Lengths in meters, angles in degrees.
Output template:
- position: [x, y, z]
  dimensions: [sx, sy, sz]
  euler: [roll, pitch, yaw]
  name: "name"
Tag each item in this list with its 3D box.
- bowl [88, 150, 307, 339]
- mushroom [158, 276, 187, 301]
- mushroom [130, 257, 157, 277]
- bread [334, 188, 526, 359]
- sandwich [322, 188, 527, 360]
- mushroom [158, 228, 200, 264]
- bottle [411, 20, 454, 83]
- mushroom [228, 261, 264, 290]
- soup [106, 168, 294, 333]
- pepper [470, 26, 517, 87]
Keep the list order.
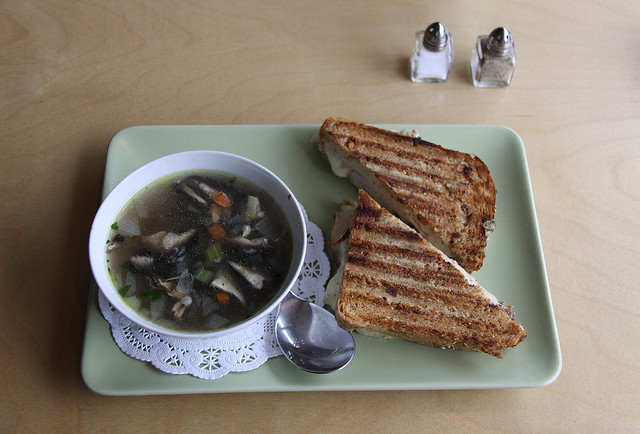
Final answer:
- position: [-0.549, 0.128, 2.801]
  dimensions: [0.845, 0.228, 0.937]
  euler: [-2, 75, -6]
  name: "bowl"
- position: [-0.671, 0.336, 2.750]
  dimensions: [0.131, 0.039, 0.075]
  euler: [45, 71, -9]
  name: "mushroom"
- position: [-0.807, 0.225, 2.761]
  dimensions: [0.120, 0.038, 0.083]
  euler: [4, 67, 8]
  name: "mushroom"
- position: [0.516, 0.132, 3.134]
  dimensions: [1.027, 0.546, 0.732]
  euler: [1, 42, 3]
  name: "bread"
- position: [0.465, 0.362, 2.860]
  dimensions: [0.965, 0.251, 0.577]
  euler: [38, 77, 8]
  name: "sandwich"
- position: [-0.653, 0.120, 2.804]
  dimensions: [0.108, 0.073, 0.184]
  euler: [47, 72, -18]
  name: "mushroom"
- position: [0.629, -0.902, 3.371]
  dimensions: [0.166, 0.327, 0.181]
  euler: [-1, 68, 2]
  name: "bottle"
- position: [-0.340, 0.274, 2.813]
  dimensions: [0.181, 0.050, 0.065]
  euler: [41, 88, 7]
  name: "mushroom"
- position: [-0.551, 0.189, 2.790]
  dimensions: [0.725, 0.197, 0.802]
  euler: [-1, 75, -6]
  name: "soup"
- position: [0.970, -0.910, 3.375]
  dimensions: [0.231, 0.281, 0.281]
  euler: [2, 66, 7]
  name: "pepper"
